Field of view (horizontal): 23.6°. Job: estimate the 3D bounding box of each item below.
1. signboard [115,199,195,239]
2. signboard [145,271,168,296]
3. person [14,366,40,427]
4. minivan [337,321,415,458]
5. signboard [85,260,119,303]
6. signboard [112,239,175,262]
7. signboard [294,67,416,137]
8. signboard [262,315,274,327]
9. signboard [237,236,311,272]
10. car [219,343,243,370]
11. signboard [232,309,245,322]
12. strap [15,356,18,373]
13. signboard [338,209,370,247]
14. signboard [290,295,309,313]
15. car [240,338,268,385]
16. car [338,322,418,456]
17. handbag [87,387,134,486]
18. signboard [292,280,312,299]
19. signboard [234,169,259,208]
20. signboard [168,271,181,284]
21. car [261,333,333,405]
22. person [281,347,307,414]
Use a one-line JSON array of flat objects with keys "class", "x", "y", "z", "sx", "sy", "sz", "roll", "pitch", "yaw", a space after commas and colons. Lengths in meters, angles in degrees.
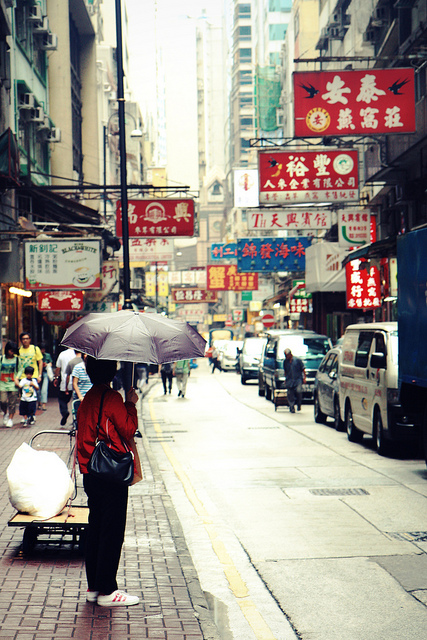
[{"class": "signboard", "x": -1.137, "y": -2.242, "z": 22.536, "sx": 1.467, "sy": 0.868, "sz": 0.427, "roll": -2, "pitch": 0, "yaw": -2}, {"class": "signboard", "x": -3.868, "y": -2.553, "z": 69.894, "sx": 1.670, "sy": 2.119, "sz": 0.630, "roll": 1, "pitch": -11, "yaw": -13}, {"class": "person", "x": -3.335, "y": 1.366, "z": 18.169, "sx": 0.408, "sy": 1.074, "sz": 0.596, "roll": -2, "pitch": 0, "yaw": -12}, {"class": "minivan", "x": 2.515, "y": 0.939, "z": 14.610, "sx": 1.076, "sy": 1.737, "sz": 3.020, "roll": 1, "pitch": -2, "yaw": -6}, {"class": "signboard", "x": -2.899, "y": -1.013, "z": 26.388, "sx": 0.975, "sy": 1.453, "sz": 0.163, "roll": 1, "pitch": 1, "yaw": 36}, {"class": "signboard", "x": -1.673, "y": -1.705, "z": 24.925, "sx": 1.444, "sy": 0.883, "sz": 0.071, "roll": 0, "pitch": -9, "yaw": 9}, {"class": "signboard", "x": 2.439, "y": -3.703, "z": 17.411, "sx": 1.932, "sy": 1.144, "sz": 0.217, "roll": -3, "pitch": 0, "yaw": 9}, {"class": "signboard", "x": 2.892, "y": 0.035, "z": 53.209, "sx": 0.618, "sy": 0.828, "sz": 0.115, "roll": -2, "pitch": 1, "yaw": -11}, {"class": "signboard", "x": 2.210, "y": -2.435, "z": 37.896, "sx": 2.614, "sy": 1.318, "sz": 0.928, "roll": -3, "pitch": 0, "yaw": 2}, {"class": "car", "x": 0.898, "y": 1.824, "z": 50.980, "sx": 0.828, "sy": 1.307, "sz": 2.060, "roll": -2, "pitch": -1, "yaw": -7}, {"class": "signboard", "x": 2.522, "y": -0.459, "z": 98.365, "sx": 0.670, "sy": 1.182, "sz": 2.150, "roll": -2, "pitch": -1, "yaw": -17}, {"class": "strap", "x": -3.544, "y": 0.810, "z": 18.371, "sx": 0.029, "sy": 0.262, "sz": 0.134, "roll": -2, "pitch": 0, "yaw": -11}, {"class": "signboard", "x": 3.257, "y": -2.117, "z": 23.549, "sx": 0.752, "sy": 0.833, "sz": 0.860, "roll": -2, "pitch": 0, "yaw": 14}, {"class": "signboard", "x": 3.713, "y": -0.681, "z": 44.088, "sx": 0.872, "sy": 0.700, "sz": 0.706, "roll": -2, "pitch": -1, "yaw": 25}, {"class": "car", "x": 1.399, "y": 1.390, "z": 36.487, "sx": 0.777, "sy": 1.178, "sz": 1.875, "roll": 4, "pitch": -5, "yaw": -6}, {"class": "car", "x": 2.558, "y": 0.936, "z": 14.625, "sx": 0.939, "sy": 1.760, "sz": 3.047, "roll": 1, "pitch": -2, "yaw": -8}, {"class": "handbag", "x": -0.571, "y": 0.644, "z": 5.928, "sx": 0.276, "sy": 0.755, "sz": 0.160, "roll": 9, "pitch": 37, "yaw": 1}, {"class": "signboard", "x": 3.655, "y": -1.210, "z": 41.557, "sx": 0.789, "sy": 1.063, "sz": 1.681, "roll": -2, "pitch": 0, "yaw": 1}, {"class": "signboard", "x": 1.039, "y": -4.147, "z": 32.419, "sx": 0.742, "sy": 1.233, "sz": 1.535, "roll": -2, "pitch": -1, "yaw": 1}, {"class": "signboard", "x": -2.797, "y": -3.060, "z": 73.670, "sx": 0.726, "sy": 0.927, "sz": 0.199, "roll": 0, "pitch": 9, "yaw": 9}, {"class": "car", "x": 2.306, "y": 1.415, "z": 25.578, "sx": 1.442, "sy": 2.007, "sz": 2.123, "roll": -3, "pitch": 2, "yaw": -8}, {"class": "person", "x": 1.773, "y": 1.324, "z": 22.318, "sx": 0.441, "sy": 1.418, "sz": 1.188, "roll": -2, "pitch": 0, "yaw": 4}]
